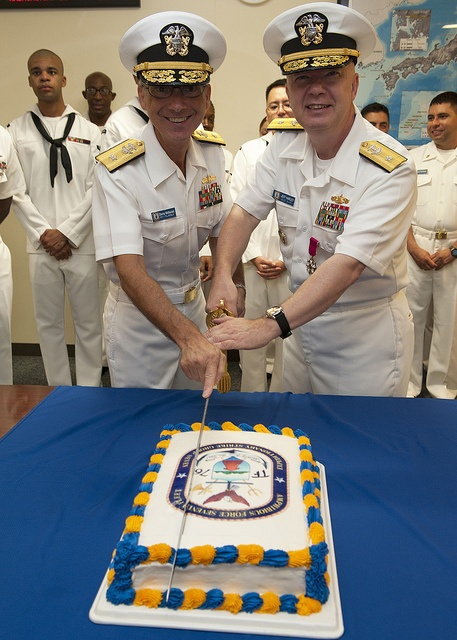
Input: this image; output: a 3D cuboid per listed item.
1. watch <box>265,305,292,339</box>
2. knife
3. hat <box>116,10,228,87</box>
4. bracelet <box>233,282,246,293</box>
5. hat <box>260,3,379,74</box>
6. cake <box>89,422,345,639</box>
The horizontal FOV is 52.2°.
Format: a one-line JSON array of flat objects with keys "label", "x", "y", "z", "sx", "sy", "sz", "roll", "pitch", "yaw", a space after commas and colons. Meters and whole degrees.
[{"label": "watch", "x": 0.127, "y": 0.003, "z": 1.209, "sx": 0.041, "sy": 0.071, "sz": 0.068, "roll": -30, "pitch": 29, "yaw": -9}, {"label": "knife", "x": -0.044, "y": 0.234, "z": 0.880, "sx": 0.085, "sy": 0.059, "sz": 0.391, "roll": 0, "pitch": 42, "yaw": 9}, {"label": "hat", "x": -0.154, "y": -0.760, "z": 1.330, "sx": 0.303, "sy": 0.210, "sz": 0.228, "roll": -3, "pitch": 13, "yaw": -13}, {"label": "bracelet", "x": 0.035, "y": -0.115, "z": 1.602, "sx": 0.033, "sy": 0.036, "sz": 0.031, "roll": 3, "pitch": -5, "yaw": -43}, {"label": "hat", "x": 0.242, "y": -0.795, "z": 1.304, "sx": 0.315, "sy": 0.215, "sz": 0.206, "roll": 3, "pitch": 13, "yaw": 14}, {"label": "cake", "x": 0.005, "y": 0.308, "z": 0.799, "sx": 0.346, "sy": 0.081, "sz": 0.467, "roll": 1, "pitch": 13, "yaw": 4}]
